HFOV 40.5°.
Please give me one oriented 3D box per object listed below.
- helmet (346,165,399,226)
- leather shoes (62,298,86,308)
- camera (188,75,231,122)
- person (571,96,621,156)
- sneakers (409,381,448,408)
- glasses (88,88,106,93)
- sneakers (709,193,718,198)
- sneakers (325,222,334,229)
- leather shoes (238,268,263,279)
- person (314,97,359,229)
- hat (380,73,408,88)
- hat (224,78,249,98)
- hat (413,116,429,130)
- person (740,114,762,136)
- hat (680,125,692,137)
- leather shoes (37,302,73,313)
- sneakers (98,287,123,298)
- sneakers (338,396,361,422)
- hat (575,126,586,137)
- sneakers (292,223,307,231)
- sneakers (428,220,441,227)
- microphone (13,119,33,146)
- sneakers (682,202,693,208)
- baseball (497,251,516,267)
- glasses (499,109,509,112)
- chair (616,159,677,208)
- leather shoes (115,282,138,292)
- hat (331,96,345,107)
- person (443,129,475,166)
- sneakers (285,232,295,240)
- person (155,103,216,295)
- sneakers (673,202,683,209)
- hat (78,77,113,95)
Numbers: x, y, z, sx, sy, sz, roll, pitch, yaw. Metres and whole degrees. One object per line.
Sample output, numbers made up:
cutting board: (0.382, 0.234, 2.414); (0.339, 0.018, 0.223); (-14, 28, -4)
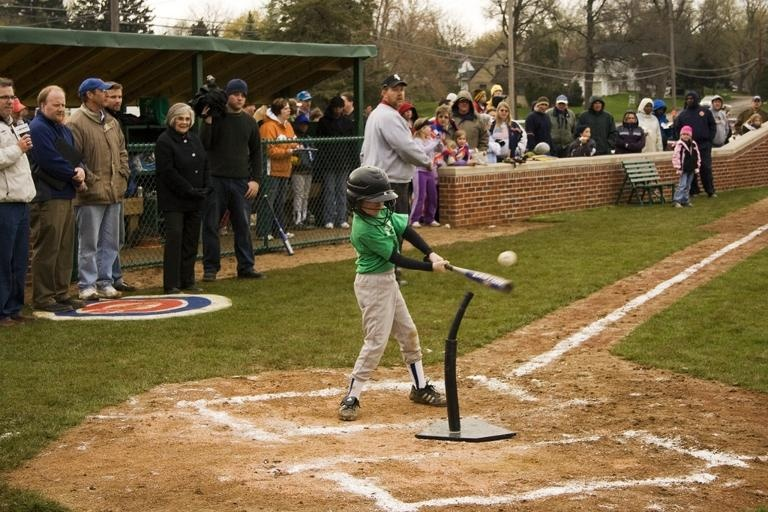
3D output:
helmet: (-0.073, -0.751, 11.799); (0.636, 0.537, 0.496); (13, 22, 29)
leather shoes: (-4.426, 0.669, 14.800); (0.316, 0.112, 0.127); (3, 15, 2)
camera: (-2.721, -2.524, 16.294); (0.544, 0.344, 0.698); (-1, 49, -6)
person: (4.912, -2.799, 24.205); (1.028, 1.864, 0.625); (1, -8, 1)
sneakers: (0.506, 1.636, 12.205); (0.501, 0.225, 0.190); (5, 4, 10)
glasses: (-4.081, -2.378, 14.822); (0.153, 0.041, 0.091); (-9, 8, 2)
sneakers: (7.951, -1.476, 25.170); (0.232, 0.088, 0.075); (-12, 14, -36)
sneakers: (-1.074, -0.603, 20.094); (0.156, 0.088, 0.199); (1, 2, -6)
leather shoes: (-2.150, 0.280, 16.635); (0.424, 0.164, 0.146); (-1, 7, 2)
person: (-0.894, -1.824, 20.054); (0.954, 2.592, 0.884); (-8, 11, -41)
hat: (0.114, -2.523, 14.829); (0.217, 0.120, 0.294); (-4, 5, -32)
hat: (-2.322, -2.621, 16.134); (0.292, 0.238, 0.390); (-5, 6, -41)
hat: (0.648, -2.483, 19.503); (0.263, 0.093, 0.212); (-27, 21, 23)
person: (10.034, -3.648, 28.441); (0.473, 0.567, 0.772); (0, 4, 25)
hat: (6.719, -2.817, 23.279); (0.224, 0.247, 0.308); (5, -16, 24)
leather shoes: (-4.626, 0.709, 14.618); (0.497, 0.146, 0.175); (0, 2, -5)
sneakers: (-4.037, 0.534, 15.265); (0.299, 0.123, 0.145); (0, 11, 1)
sneakers: (-0.401, 1.757, 11.881); (0.227, 0.255, 0.597); (3, -6, 1)
hat: (4.415, -2.820, 23.503); (0.130, 0.204, 0.385); (-3, 4, -23)
sneakers: (-1.615, -0.565, 19.778); (0.292, 0.091, 0.123); (-7, -2, 37)
sneakers: (1.025, -0.656, 20.899); (0.078, 0.072, 0.178); (-23, 21, -40)
microphone: (-4.870, -1.682, 13.912); (0.339, 0.296, 0.084); (-10, -18, -47)
sneakers: (6.811, -1.159, 23.328); (0.256, 0.105, 0.078); (-13, 21, -27)
baseball: (1.357, 0.024, 11.352); (0.207, 0.142, 0.203); (-7, 7, -30)
glasses: (2.498, -3.046, 21.721); (0.171, 0.055, 0.162); (-1, 4, 6)
chair: (6.195, -1.781, 24.660); (0.961, 1.080, 1.540); (1, 4, 36)
leather shoes: (-3.898, 0.471, 15.797); (0.359, 0.109, 0.155); (13, 9, 1)
hat: (-0.909, -2.989, 20.042); (0.224, 0.170, 0.230); (2, 7, -9)
person: (1.448, -2.156, 20.876); (0.643, 0.749, 0.498); (-5, 15, -24)
sneakers: (-1.749, -0.377, 19.066); (0.169, 0.121, 0.379); (10, -2, -9)
person: (-3.023, -0.881, 15.583); (0.781, 2.831, 0.519); (-4, 5, -30)
sneakers: (6.548, -1.149, 23.222); (0.161, 0.100, 0.101); (1, 12, 43)
hat: (-4.167, -2.453, 14.869); (0.529, 0.235, 0.303); (-14, 20, -12)
